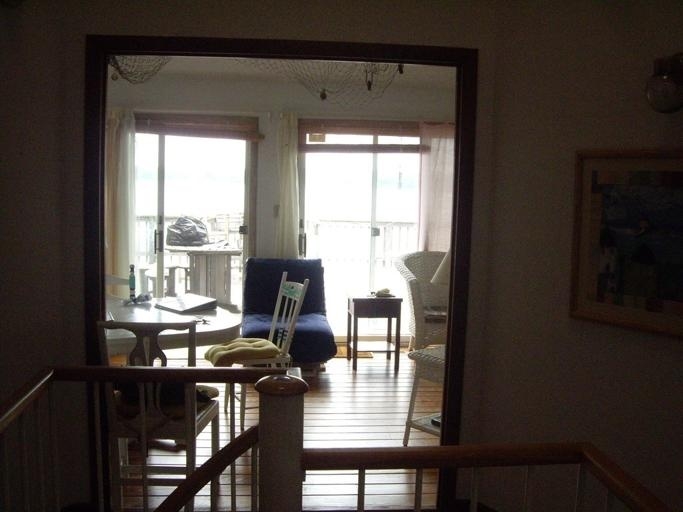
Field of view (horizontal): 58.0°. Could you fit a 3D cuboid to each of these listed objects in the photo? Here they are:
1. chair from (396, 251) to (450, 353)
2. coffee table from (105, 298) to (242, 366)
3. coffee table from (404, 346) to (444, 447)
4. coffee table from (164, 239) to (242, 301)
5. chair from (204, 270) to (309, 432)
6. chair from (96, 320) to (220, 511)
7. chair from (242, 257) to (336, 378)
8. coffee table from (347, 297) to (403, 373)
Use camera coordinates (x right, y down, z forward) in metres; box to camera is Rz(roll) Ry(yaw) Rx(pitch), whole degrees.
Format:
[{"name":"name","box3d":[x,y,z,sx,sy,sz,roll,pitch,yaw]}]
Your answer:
[{"name":"chair","box3d":[0.686,0.446,5.358,0.469,0.942,1.356,2,3,9]},{"name":"coffee table","box3d":[-1.024,0.451,3.732,0.606,0.148,0.618,1,7,-2]},{"name":"coffee table","box3d":[0.549,0.932,4.109,0.247,0.642,1.426,2,3,8]},{"name":"coffee table","box3d":[-1.435,0.146,6.262,0.647,0.620,0.656,2,3,-9]},{"name":"chair","box3d":[-0.629,0.688,4.385,0.661,1.000,0.508,0,2,-21]},{"name":"chair","box3d":[-0.935,0.766,3.172,0.595,0.904,0.997,1,3,-12]},{"name":"chair","box3d":[-0.480,0.515,5.380,0.888,0.899,1.098,1,6,6]},{"name":"coffee table","box3d":[0.307,0.698,5.720,0.611,0.904,0.617,0,1,-2]}]
